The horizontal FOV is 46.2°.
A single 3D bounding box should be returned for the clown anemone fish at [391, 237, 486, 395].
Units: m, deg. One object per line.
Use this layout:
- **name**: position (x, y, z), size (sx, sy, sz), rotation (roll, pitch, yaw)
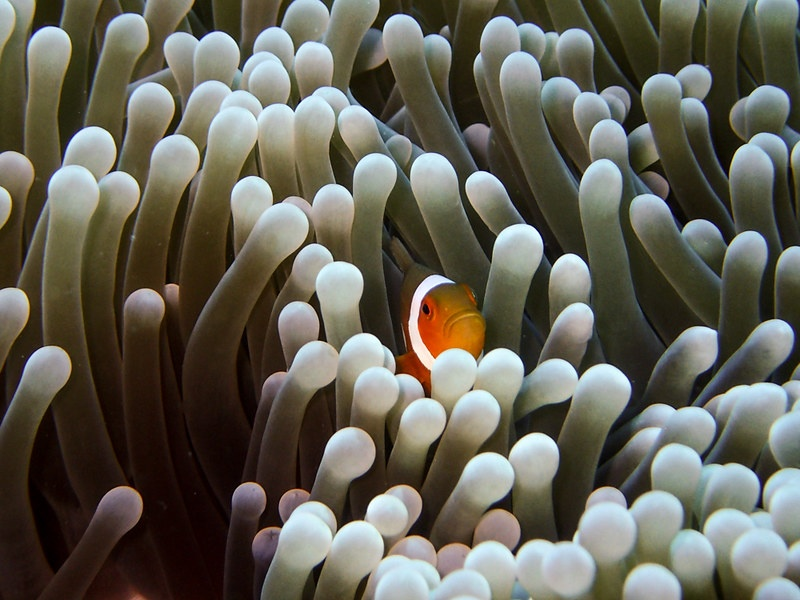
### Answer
- **clown anemone fish**: position (0.061, 0.022, 1.699), size (0.135, 0.160, 0.214), rotation (-11, 24, -18)
